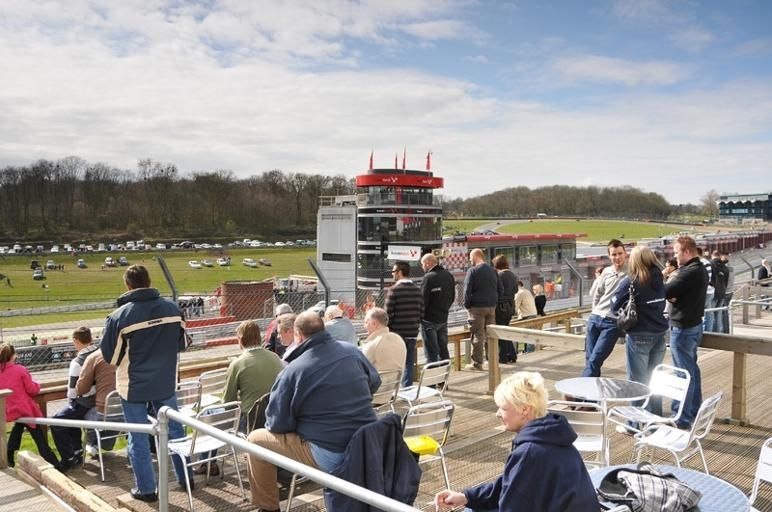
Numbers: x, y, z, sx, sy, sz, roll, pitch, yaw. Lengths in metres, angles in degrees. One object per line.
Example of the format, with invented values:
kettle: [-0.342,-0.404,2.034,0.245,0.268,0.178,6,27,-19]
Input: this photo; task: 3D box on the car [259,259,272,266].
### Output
car: [-24.323,1.044,130.890,1.315,0.969,2.822,0,-1,-36]

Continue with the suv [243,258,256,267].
suv: [-26.684,1.224,127.905,1.578,1.172,3.387,1,7,-12]

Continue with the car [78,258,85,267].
car: [-59.895,1.120,127.576,1.490,1.452,2.716,2,5,-21]

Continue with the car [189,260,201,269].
car: [-37.085,1.467,125.957,1.568,1.051,3.046,-1,2,-42]

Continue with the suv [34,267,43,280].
suv: [-62.791,3.038,117.392,1.807,1.738,3.238,1,10,-21]

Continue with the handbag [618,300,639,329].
handbag: [3.632,0.853,9.691,0.165,0.325,0.340,9,-15,0]

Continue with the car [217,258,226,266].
car: [-33.404,0.957,132.328,1.182,0.965,2.819,-2,-1,-24]

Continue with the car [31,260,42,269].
car: [-70.606,1.511,131.323,1.555,1.465,2.444,0,8,-11]

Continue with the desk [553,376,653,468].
desk: [2.633,2.316,8.514,1.270,1.473,1.288,0,2,4]

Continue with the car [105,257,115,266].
car: [-55.528,1.050,131.205,2.346,1.486,3.029,1,9,-23]

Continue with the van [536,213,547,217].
van: [61.326,-16.447,254.962,3.457,1.853,4.172,-2,2,14]

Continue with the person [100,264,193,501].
person: [-3.327,1.718,9.088,1.177,3.148,1.117,-3,-1,-35]

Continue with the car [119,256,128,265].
car: [-54.171,0.808,134.417,1.771,1.583,2.958,-1,-3,-35]
